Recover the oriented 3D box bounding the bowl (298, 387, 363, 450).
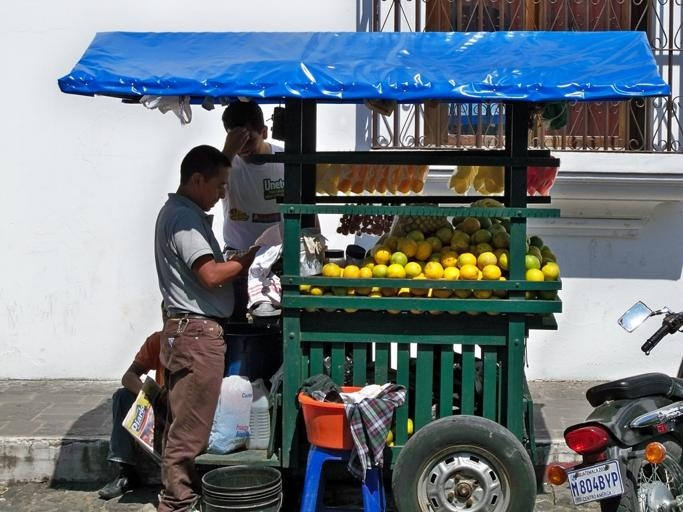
[{"bbox_3d":[-0.034,1.105,6.817,0.452,0.300,0.434,-2,2,0],"label":"bowl"}]

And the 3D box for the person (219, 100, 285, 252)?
[{"bbox_3d":[-0.846,-0.641,8.349,0.500,1.289,0.509,-5,15,-41],"label":"person"}]
